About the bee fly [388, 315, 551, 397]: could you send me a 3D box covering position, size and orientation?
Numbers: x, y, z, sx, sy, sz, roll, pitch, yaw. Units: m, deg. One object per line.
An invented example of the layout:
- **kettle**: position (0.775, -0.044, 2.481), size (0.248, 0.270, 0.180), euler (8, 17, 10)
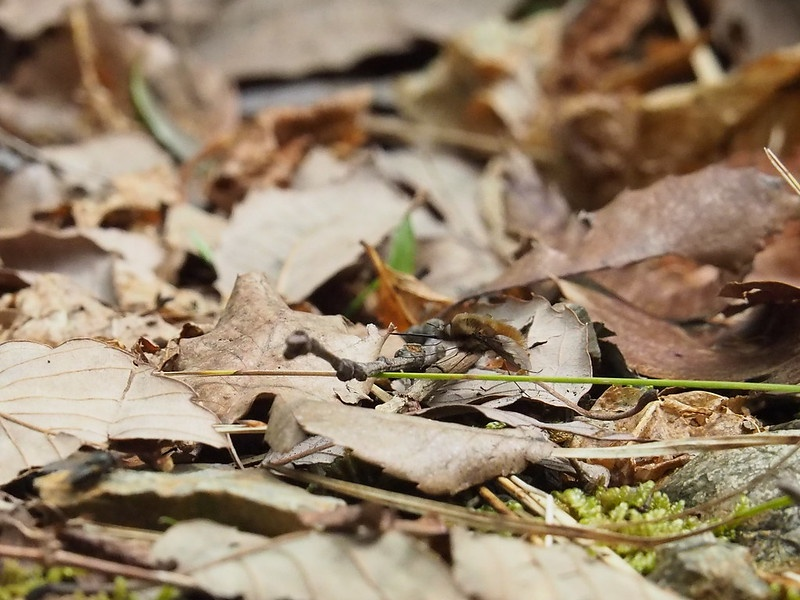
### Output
- **bee fly**: position (0.148, 0.073, 1.647), size (0.249, 0.051, 0.121), euler (8, 35, -2)
